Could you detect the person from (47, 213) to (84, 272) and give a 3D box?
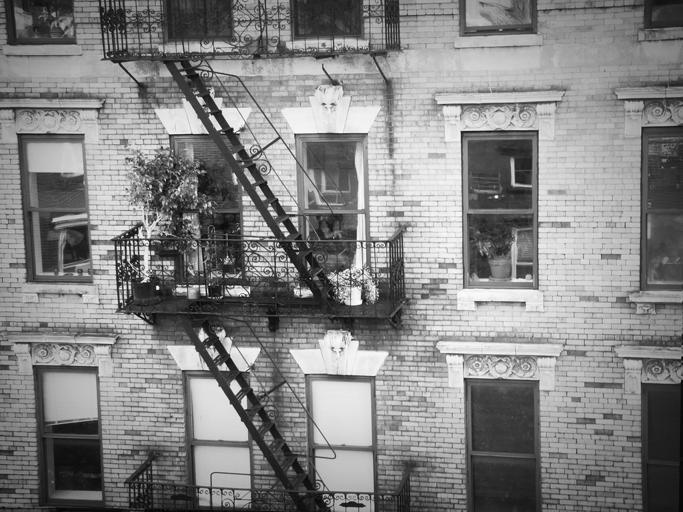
[{"bbox_3d":[-4.549,-0.261,31.251,0.595,0.979,0.531,-4,17,-5],"label":"person"}]

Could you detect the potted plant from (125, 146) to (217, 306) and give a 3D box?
[{"bbox_3d":[-2.840,-0.538,30.220,1.305,2.462,1.159,0,-1,-6],"label":"potted plant"}]

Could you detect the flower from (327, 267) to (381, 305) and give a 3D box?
[{"bbox_3d":[0.193,0.487,29.960,0.626,0.639,0.170,-14,-4,-1],"label":"flower"}]

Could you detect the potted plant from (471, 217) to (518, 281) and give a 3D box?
[{"bbox_3d":[2.454,-0.170,30.136,0.932,1.127,0.645,1,-5,1],"label":"potted plant"}]

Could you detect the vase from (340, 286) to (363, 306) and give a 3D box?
[{"bbox_3d":[0.120,0.634,30.023,0.296,0.228,0.302,0,5,1],"label":"vase"}]
